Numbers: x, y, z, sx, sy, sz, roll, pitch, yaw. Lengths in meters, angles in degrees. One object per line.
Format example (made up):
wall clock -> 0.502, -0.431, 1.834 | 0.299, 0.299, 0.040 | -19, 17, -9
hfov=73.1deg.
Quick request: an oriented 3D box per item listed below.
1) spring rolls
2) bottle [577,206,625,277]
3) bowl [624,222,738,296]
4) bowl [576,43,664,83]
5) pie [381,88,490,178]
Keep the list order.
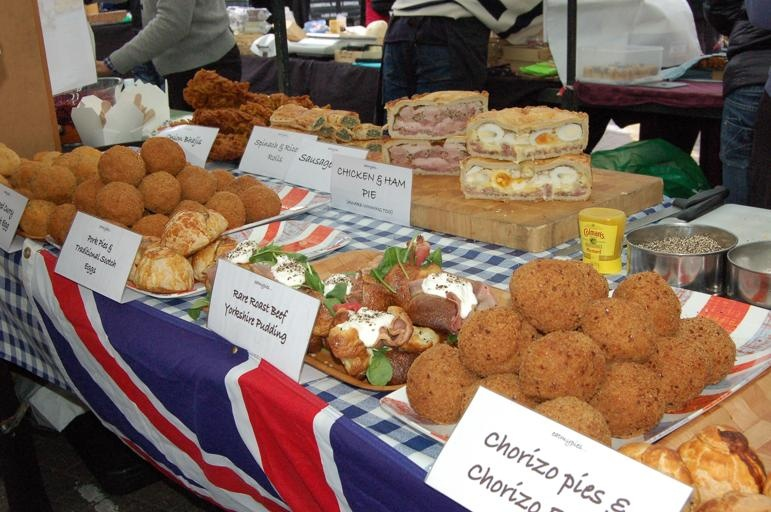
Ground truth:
spring rolls -> -0.270, -0.621, 2.458 | 0.460, 0.118, 0.273 | 13, 27, 21
bottle -> 0.650, -0.037, 1.551 | 0.110, 0.171, 0.148 | -9, 13, -33
bowl -> 0.804, -0.009, 1.413 | 0.242, 0.085, 0.236 | -2, 18, 1
bowl -> 1.731, -1.413, 3.940 | 0.410, 0.172, 0.502 | -19, 25, -38
pie -> 0.275, -0.560, 2.456 | 0.474, 0.423, 0.340 | 6, 21, 41
